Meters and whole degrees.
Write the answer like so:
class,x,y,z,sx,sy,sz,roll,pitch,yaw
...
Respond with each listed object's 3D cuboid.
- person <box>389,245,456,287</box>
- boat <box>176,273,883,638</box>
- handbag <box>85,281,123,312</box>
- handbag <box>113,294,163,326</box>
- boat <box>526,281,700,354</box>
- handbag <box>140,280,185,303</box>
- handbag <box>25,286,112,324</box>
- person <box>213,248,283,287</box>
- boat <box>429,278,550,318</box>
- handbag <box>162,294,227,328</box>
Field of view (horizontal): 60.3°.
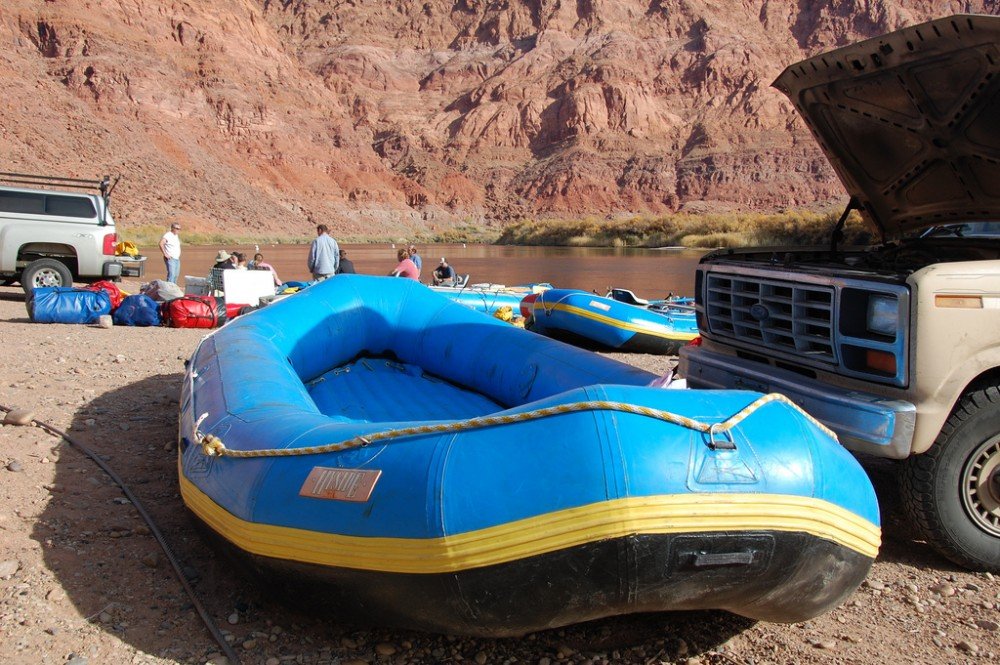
class,x,y,z,sx,sy,sz,roll,pitch,yaw
person,-1.367,-1.054,14.470,0.864,0.305,1.531,0,12,-7
boat,-0.403,0.705,5.510,2.628,1.097,3.489,-1,12,-35
handbag,-5.820,-0.538,12.716,0.407,0.192,0.491,10,19,-48
handbag,-5.193,-0.317,12.391,0.682,0.417,0.371,0,9,8
boat,1.288,-0.199,11.553,1.128,0.522,1.820,2,6,-42
handbag,-5.212,-0.674,13.245,0.666,0.200,0.514,27,29,25
handbag,-6.002,-0.385,12.035,0.770,0.264,0.737,-2,15,-23
person,-4.489,-1.224,14.943,1.121,0.582,1.526,5,9,-27
boat,-0.148,-0.401,13.757,1.484,0.322,0.830,2,14,-25
handbag,-4.351,-0.312,12.462,0.709,0.286,0.465,-2,33,-37
